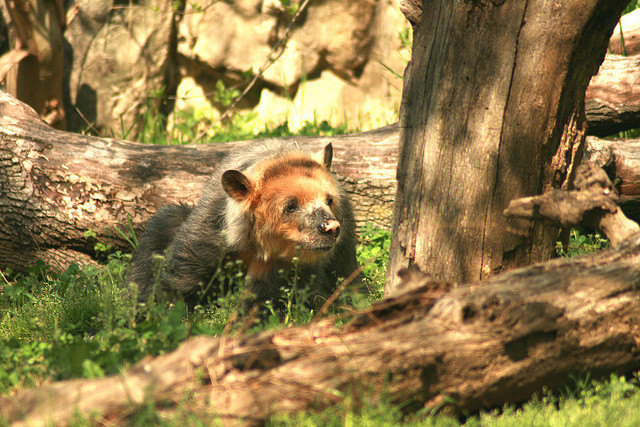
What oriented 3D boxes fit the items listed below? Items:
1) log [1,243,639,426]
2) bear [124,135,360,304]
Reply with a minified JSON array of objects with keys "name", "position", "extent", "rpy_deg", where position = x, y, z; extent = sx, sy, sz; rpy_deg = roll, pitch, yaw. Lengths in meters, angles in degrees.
[{"name":"log","position":[0.132,1.176,9.021],"extent":[5.316,0.761,0.971],"rpy_deg":[-7,-8,-4]},{"name":"bear","position":[-0.616,0.214,11.092],"extent":[2.365,1.934,2.950],"rpy_deg":[-6,9,-30]}]
